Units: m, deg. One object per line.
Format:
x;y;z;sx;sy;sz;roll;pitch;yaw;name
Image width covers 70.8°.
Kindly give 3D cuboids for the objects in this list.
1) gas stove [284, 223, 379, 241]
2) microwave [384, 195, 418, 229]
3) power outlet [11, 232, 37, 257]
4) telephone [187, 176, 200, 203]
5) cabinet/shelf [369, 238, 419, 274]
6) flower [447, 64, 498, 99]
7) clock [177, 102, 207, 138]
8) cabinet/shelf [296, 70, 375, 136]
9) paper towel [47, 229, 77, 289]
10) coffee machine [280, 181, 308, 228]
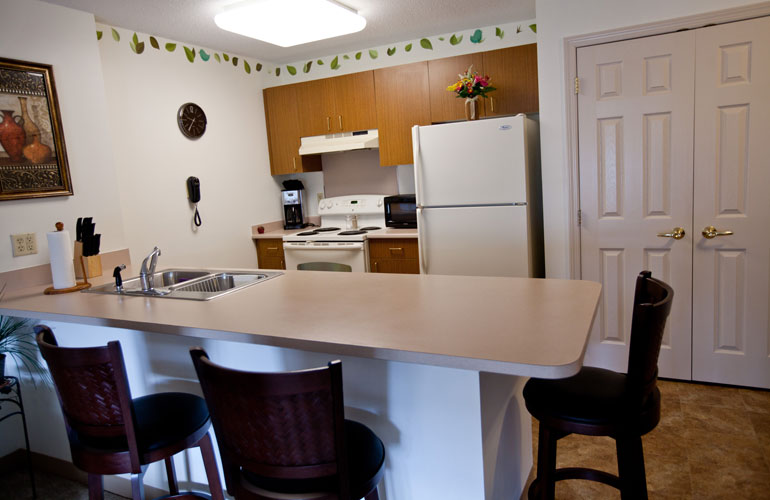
-0.482;-0.170;5.323;0.869;0.099;0.563;0;8;19;gas stove
0.170;-0.374;5.197;0.333;0.293;0.175;1;4;28;microwave
-2.446;-0.041;3.663;0.024;0.179;0.161;-1;2;35;power outlet
-1.695;-0.536;4.814;0.108;0.234;0.060;-8;10;-35;telephone
0.115;0.042;5.015;0.460;0.437;0.304;1;2;27;cabinet/shelf
0.728;-1.355;4.564;0.337;0.235;0.337;-10;13;-35;flower
-1.707;-1.142;4.829;0.044;0.328;0.302;2;9;31;clock
-0.460;-1.372;5.172;0.839;0.568;0.481;1;3;27;cabinet/shelf
-2.087;0.054;3.506;0.125;0.364;0.151;-8;10;-33;paper towel
-0.959;-0.484;5.701;0.256;0.509;0.181;-4;8;-9;coffee machine
